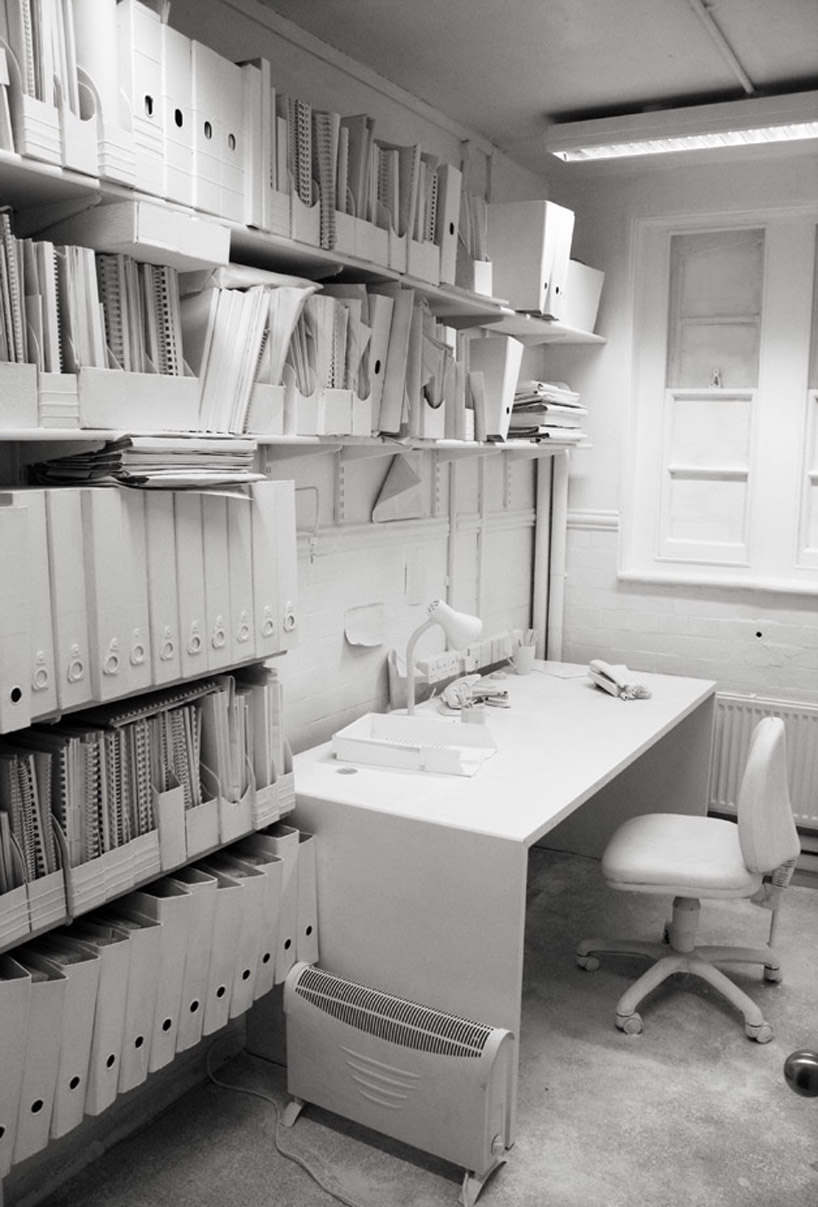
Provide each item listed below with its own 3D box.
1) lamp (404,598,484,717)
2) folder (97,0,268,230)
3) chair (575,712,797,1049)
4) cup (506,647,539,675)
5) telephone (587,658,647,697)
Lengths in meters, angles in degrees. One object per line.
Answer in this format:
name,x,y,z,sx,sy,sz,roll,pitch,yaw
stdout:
lamp,0.093,0.163,2.489,0.165,0.344,0.092,-4,42,-2
folder,-0.326,-0.728,1.321,0.033,0.286,0.333,2,4,23
chair,0.707,0.656,2.274,0.500,0.804,0.520,6,12,35
cup,0.390,0.194,3.013,0.093,0.102,0.064,6,9,29
telephone,0.669,0.236,2.726,0.110,0.049,0.110,13,13,-39
